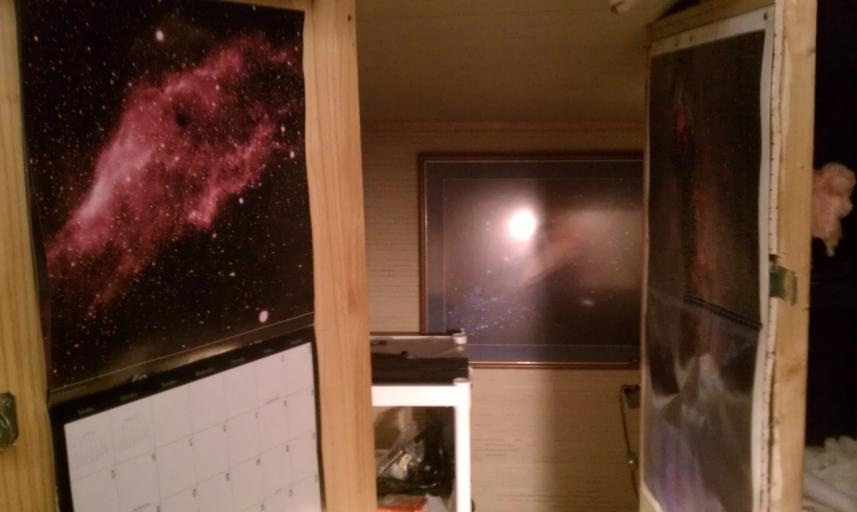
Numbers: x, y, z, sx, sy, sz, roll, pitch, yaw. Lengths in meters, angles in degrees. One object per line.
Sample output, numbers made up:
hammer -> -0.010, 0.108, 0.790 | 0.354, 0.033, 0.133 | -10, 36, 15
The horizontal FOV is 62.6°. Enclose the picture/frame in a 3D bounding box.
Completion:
picture/frame -> 0.391, -0.035, 2.707 | 0.954, 0.036, 0.839 | 0, -85, 2
